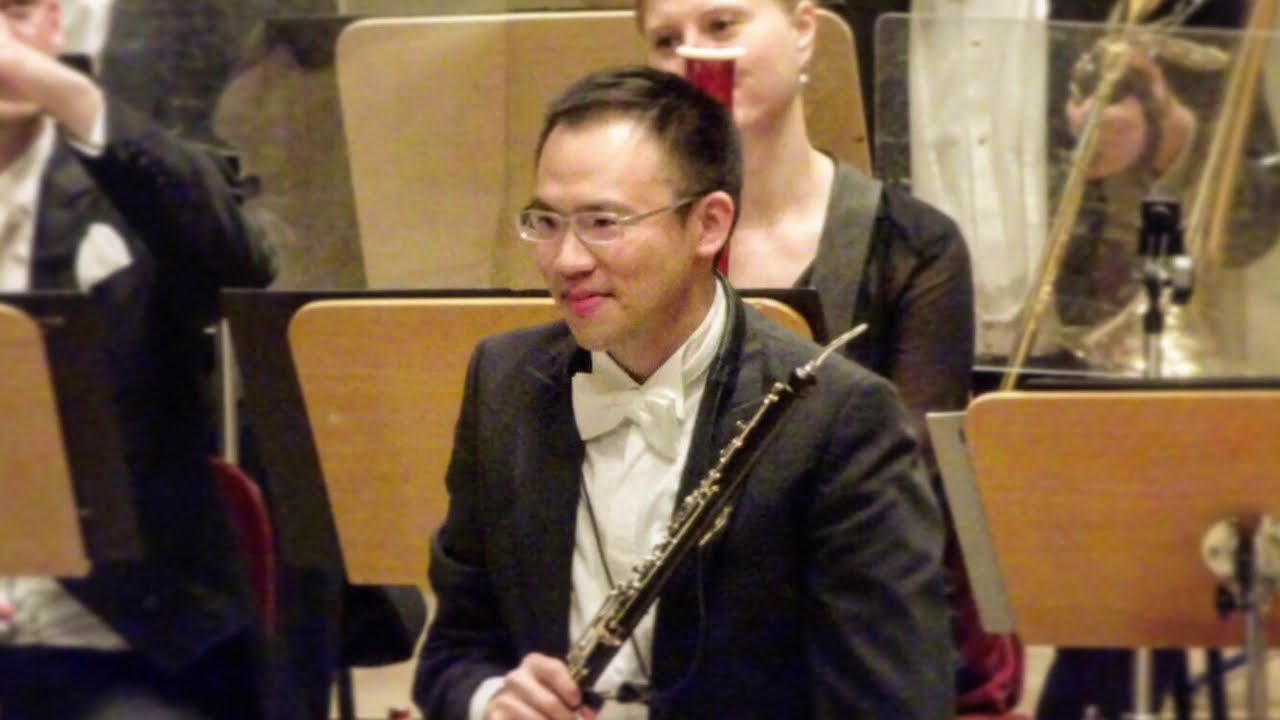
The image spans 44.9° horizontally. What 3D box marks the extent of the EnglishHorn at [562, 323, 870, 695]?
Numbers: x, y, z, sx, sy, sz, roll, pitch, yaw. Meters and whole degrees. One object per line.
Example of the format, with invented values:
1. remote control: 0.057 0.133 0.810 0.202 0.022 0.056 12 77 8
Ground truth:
1. EnglishHorn: 0.146 0.264 2.652 0.102 0.745 0.097 42 -1 -34

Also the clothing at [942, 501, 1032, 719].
1. clothing: 0.665 0.508 3.005 0.242 0.328 0.113 5 -2 1

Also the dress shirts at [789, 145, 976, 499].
1. dress shirts: 0.441 -0.044 2.850 0.468 0.646 0.173 0 4 3
